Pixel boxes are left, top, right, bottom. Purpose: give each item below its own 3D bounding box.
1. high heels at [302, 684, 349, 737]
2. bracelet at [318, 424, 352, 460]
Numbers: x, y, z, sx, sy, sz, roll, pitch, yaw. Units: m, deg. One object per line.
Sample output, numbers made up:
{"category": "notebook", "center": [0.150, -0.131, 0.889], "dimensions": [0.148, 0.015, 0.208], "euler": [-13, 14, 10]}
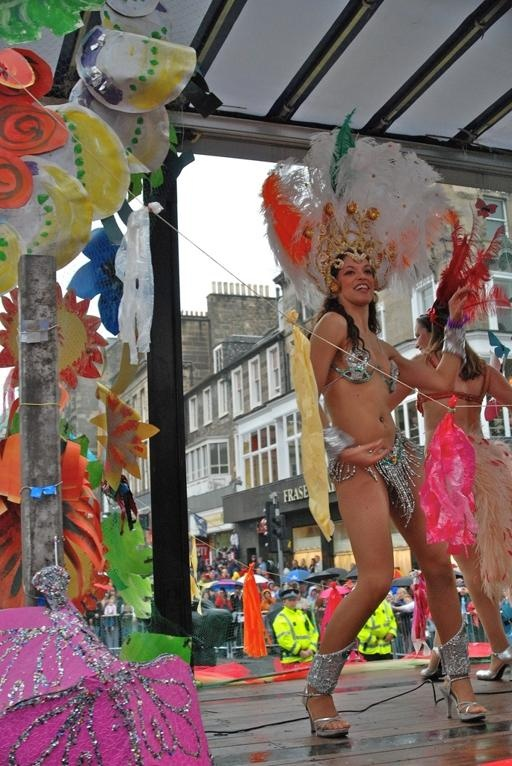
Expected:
{"category": "high heels", "center": [0.222, 1.034, 2.277], "dimensions": [0.129, 0.130, 0.216], "euler": [-2, -6, -1]}
{"category": "bracelet", "center": [0.278, 0.204, 2.489], "dimensions": [0.129, 0.095, 0.099], "euler": [0, -16, 25]}
